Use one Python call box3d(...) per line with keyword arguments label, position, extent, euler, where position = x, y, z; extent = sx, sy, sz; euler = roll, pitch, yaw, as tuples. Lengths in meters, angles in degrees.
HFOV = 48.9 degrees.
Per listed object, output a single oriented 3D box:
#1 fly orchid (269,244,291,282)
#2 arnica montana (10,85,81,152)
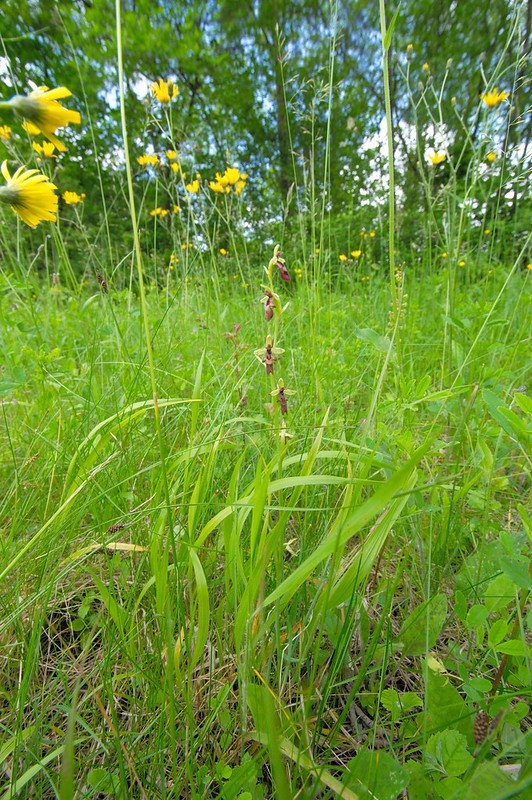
box3d(label="fly orchid", position=(0.027, -0.266, 1.128), extent=(0.033, 0.040, 0.089), euler=(-17, 9, -5))
box3d(label="arnica montana", position=(-0.443, -0.579, 1.182), extent=(0.060, 0.136, 0.138), euler=(-35, 53, 5))
